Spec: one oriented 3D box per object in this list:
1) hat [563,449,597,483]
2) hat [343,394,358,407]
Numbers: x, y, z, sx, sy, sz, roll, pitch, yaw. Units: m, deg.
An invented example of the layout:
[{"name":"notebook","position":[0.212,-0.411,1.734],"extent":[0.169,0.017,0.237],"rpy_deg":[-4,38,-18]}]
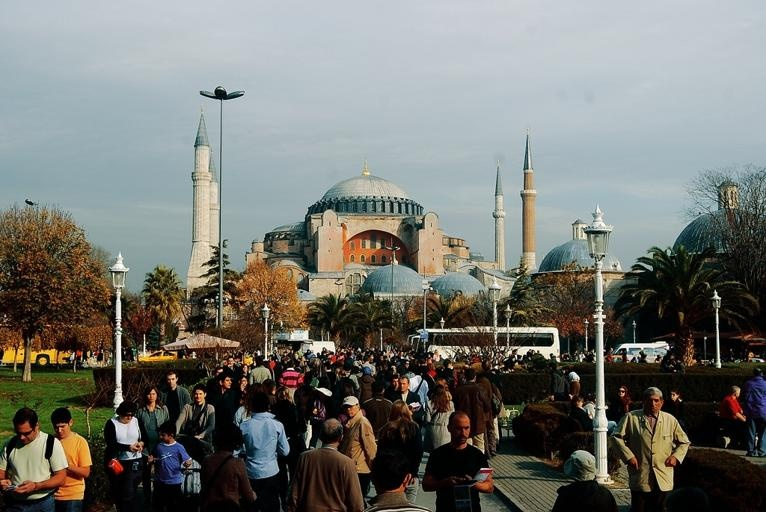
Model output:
[{"name":"hat","position":[3.695,3.917,20.469],"extent":[0.486,0.479,0.647],"rpy_deg":[5,9,35]},{"name":"hat","position":[-0.699,3.089,23.136],"extent":[0.265,0.185,0.423],"rpy_deg":[-2,-12,15]}]
